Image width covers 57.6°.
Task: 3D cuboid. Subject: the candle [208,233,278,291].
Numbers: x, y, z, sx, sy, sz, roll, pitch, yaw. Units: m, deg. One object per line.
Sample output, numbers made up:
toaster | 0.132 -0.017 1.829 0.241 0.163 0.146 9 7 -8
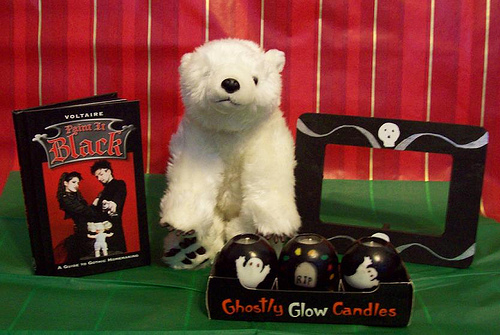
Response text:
candle | -0.017 0.201 1.043 0.123 0.138 0.121 8 5 -23

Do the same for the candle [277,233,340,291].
candle | 0.133 0.207 1.034 0.150 0.124 0.145 -2 15 -5

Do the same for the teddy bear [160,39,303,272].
teddy bear | -0.034 -0.034 1.211 0.384 0.568 0.409 3 4 34

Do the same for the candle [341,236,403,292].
candle | 0.265 0.213 1.042 0.111 0.124 0.113 0 2 -6
